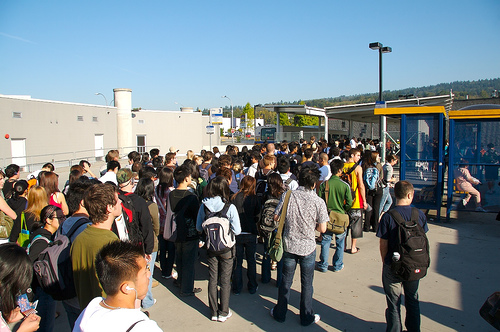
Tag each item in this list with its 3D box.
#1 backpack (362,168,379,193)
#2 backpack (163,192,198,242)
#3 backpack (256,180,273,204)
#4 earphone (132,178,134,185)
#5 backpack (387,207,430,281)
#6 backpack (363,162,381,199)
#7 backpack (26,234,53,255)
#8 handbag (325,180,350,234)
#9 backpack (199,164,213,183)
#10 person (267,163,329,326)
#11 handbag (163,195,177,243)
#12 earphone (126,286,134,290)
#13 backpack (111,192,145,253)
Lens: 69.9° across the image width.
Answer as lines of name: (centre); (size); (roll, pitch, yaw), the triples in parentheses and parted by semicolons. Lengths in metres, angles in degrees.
backpack: (2.979, 0.322, 8.748); (0.336, 0.532, 0.181); (2, -2, 15)
backpack: (-1.251, 0.945, 6.499); (0.777, 0.941, 0.485); (5, 5, 40)
backpack: (0.291, 0.522, 7.096); (0.352, 0.560, 0.287); (6, 17, 16)
earphone: (-2.054, 0.263, 6.227); (0.018, 0.109, 0.062); (-9, 14, -32)
backpack: (2.408, 1.184, 5.357); (0.595, 1.017, 0.424); (-2, 12, -6)
backpack: (3.015, 0.351, 8.832); (0.586, 0.933, 0.313); (1, -1, 21)
backpack: (-3.045, 1.149, 5.155); (0.247, 0.267, 0.268); (-10, -1, 17)
handbag: (1.766, 0.871, 7.048); (0.486, 0.875, 0.786); (-7, -30, 30)
backpack: (-1.113, 0.109, 8.998); (0.337, 0.392, 0.788); (-3, 13, -8)
person: (0.851, 1.327, 6.164); (0.946, 2.562, 0.884); (1, 12, 13)
handbag: (-1.478, 0.957, 6.519); (0.179, 0.823, 0.323); (-9, 14, -33)
earphone: (-1.248, 1.256, 3.668); (0.051, 0.022, 0.029); (14, -11, -15)
backpack: (-1.956, 0.954, 5.707); (0.425, 0.869, 0.997); (-5, 13, -17)
